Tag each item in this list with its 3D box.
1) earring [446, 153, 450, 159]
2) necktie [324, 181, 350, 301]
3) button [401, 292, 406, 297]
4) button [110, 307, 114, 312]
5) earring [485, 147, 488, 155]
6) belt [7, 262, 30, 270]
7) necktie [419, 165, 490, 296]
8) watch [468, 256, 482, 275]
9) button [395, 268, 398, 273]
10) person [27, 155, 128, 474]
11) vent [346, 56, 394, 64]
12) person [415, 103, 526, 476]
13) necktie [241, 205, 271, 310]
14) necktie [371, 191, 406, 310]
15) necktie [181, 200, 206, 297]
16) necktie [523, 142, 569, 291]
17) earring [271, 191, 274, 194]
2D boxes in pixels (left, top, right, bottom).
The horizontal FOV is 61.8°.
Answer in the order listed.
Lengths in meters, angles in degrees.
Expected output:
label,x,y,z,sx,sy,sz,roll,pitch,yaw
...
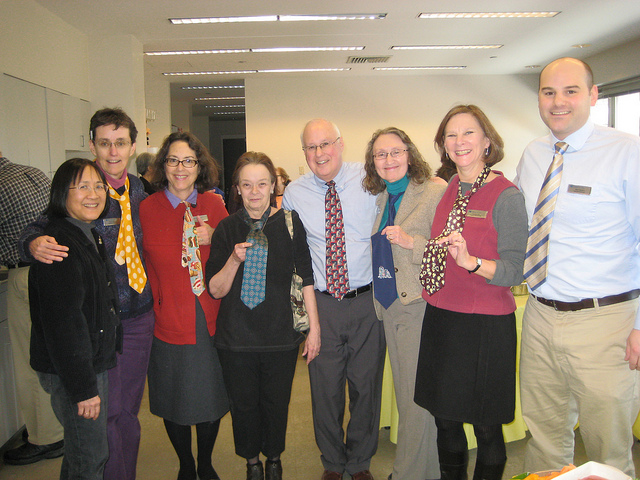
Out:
label,x,y,z,sx,sy,sz,roll,pitch,yaw
earring,0.814,-0.530,3.427,0.009,0.036,0.037,-5,30,-14
necktie,0.112,0.007,3.694,0.167,0.802,0.198,1,5,-1
button,0.538,0.350,3.453,0.029,0.028,0.007,0,-6,12
button,-1.241,0.416,3.187,0.022,0.029,0.009,-24,4,-9
earring,1.034,-0.537,3.332,0.024,0.030,0.008,1,5,7
belt,-2.280,0.195,4.063,0.135,0.072,0.083,-3,-1,41
necktie,0.827,0.011,3.294,0.074,0.913,0.276,24,-14,-38
watch,0.880,0.142,3.064,0.030,0.073,0.074,9,24,-11
button,0.492,0.197,3.483,0.007,0.030,0.030,4,-6,-37
person,-1.436,0.441,3.131,0.418,1.814,0.386,2,5,15
vent,0.863,-3.131,9.452,0.746,0.052,0.461,0,5,-7
person,0.894,0.322,3.269,0.617,2.288,0.520,2,5,15
necktie,-0.412,0.118,3.427,0.190,0.631,0.194,0,5,-7
necktie,0.417,0.207,3.544,0.040,0.498,0.209,-4,7,-43
necktie,-0.848,0.013,3.432,0.140,0.698,0.084,-2,-27,-26
necktie,1.334,-0.132,3.198,0.153,0.883,0.269,5,7,42
earring,-0.315,-0.304,3.478,0.005,0.020,0.022,0,1,33
